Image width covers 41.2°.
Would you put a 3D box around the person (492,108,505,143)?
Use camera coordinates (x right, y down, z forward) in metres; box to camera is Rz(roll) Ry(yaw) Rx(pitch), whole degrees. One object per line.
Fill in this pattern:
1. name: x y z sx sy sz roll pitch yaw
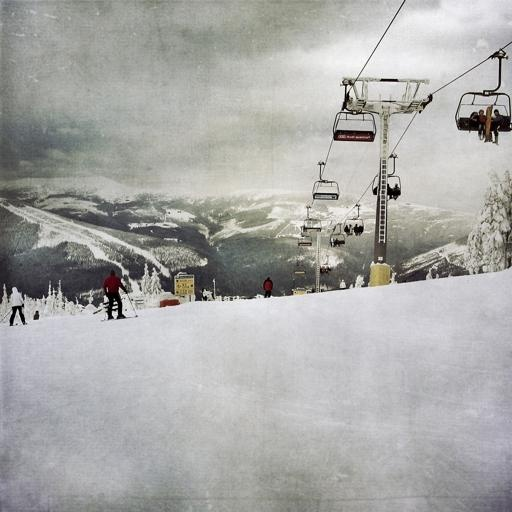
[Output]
1. person: 5.305 -2.832 14.981 0.251 0.756 0.686 2 8 28

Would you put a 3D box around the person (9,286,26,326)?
1. person: -5.665 1.159 16.179 0.297 1.061 0.320 0 -33 -18

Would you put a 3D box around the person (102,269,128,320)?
1. person: -3.269 0.830 15.681 0.392 1.261 0.323 1 25 -2
